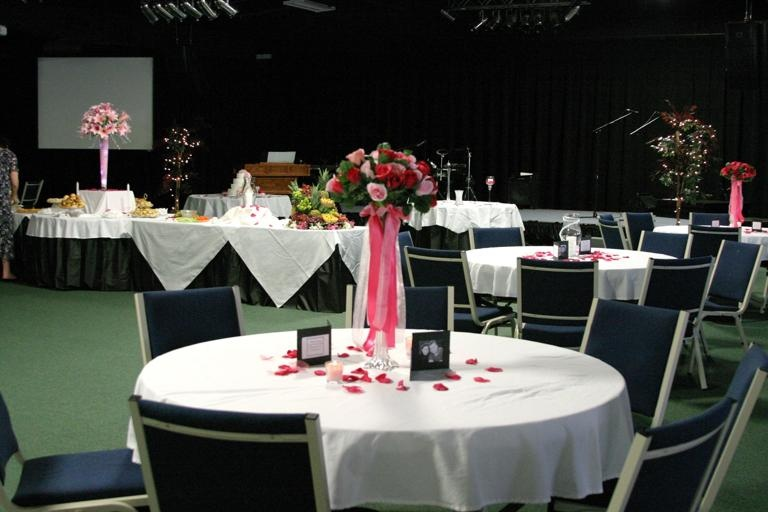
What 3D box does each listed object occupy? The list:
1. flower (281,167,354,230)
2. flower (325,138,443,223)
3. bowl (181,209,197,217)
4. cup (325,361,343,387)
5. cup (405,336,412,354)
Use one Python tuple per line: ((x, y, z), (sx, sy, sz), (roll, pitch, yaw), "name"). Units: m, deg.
((-0.769, -0.608, 7.027), (0.529, 0.659, 0.512), (6, 21, -42), "flower")
((0.027, -0.292, 2.890), (0.429, 0.397, 0.417), (18, 24, 19), "flower")
((-2.581, -0.577, 8.173), (0.204, 0.141, 0.208), (-2, 5, 0), "bowl")
((-0.219, 0.518, 2.677), (0.084, 0.109, 0.083), (-2, 5, 0), "cup")
((0.119, 0.438, 3.003), (0.063, 0.077, 0.066), (-1, 22, 0), "cup")
